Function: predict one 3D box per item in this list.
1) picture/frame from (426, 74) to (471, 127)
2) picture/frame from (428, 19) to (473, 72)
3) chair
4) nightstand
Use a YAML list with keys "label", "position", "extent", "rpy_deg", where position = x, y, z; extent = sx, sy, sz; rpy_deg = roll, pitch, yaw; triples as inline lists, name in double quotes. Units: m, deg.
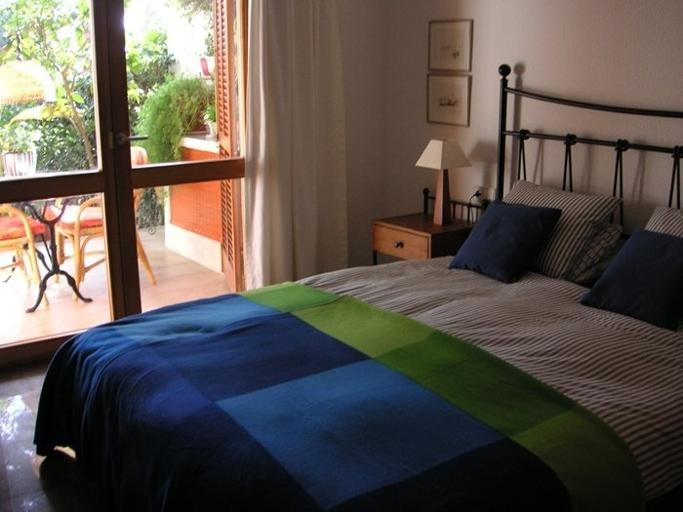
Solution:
- label: "picture/frame"
  position: [0.810, -1.197, 3.909]
  extent: [0.381, 0.375, 0.041]
  rpy_deg: [-4, 9, -20]
- label: "picture/frame"
  position: [0.806, -1.566, 3.837]
  extent: [0.349, 0.346, 0.039]
  rpy_deg: [-3, 11, -11]
- label: "chair"
  position: [-1.685, -0.339, 3.804]
  extent: [0.823, 1.298, 0.785]
  rpy_deg: [-4, 18, -34]
- label: "nightstand"
  position: [0.577, -0.166, 3.772]
  extent: [0.377, 0.467, 0.482]
  rpy_deg: [-12, 24, -30]
